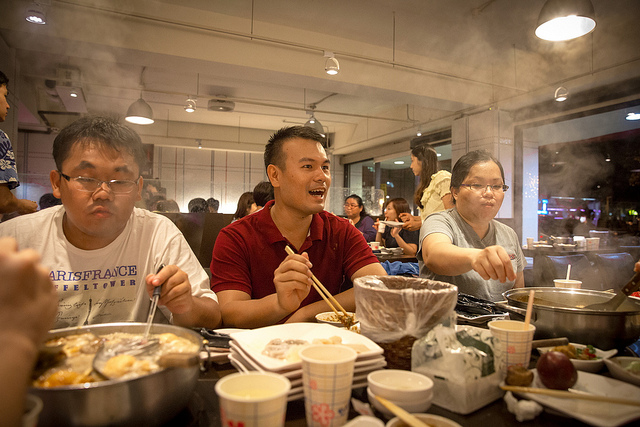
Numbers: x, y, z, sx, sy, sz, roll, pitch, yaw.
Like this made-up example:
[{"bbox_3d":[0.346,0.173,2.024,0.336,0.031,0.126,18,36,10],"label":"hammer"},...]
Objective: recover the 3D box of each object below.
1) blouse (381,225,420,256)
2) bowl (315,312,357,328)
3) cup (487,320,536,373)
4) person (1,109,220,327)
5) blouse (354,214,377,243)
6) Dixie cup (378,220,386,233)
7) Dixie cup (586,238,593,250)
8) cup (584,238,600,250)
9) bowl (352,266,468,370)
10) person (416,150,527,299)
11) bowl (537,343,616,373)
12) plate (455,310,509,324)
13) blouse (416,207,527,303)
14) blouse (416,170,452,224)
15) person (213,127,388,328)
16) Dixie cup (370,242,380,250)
[{"bbox_3d":[1.250,0.389,7.092,0.358,0.340,1.167,-1,0,-12],"label":"blouse"},{"bbox_3d":[0.079,0.607,2.504,0.213,0.058,0.172,-1,0,21],"label":"bowl"},{"bbox_3d":[0.932,0.599,2.127,0.215,0.232,0.220,-10,31,6],"label":"cup"},{"bbox_3d":[-1.223,0.064,2.586,1.173,1.272,0.668,0,1,14],"label":"person"},{"bbox_3d":[0.668,0.224,6.487,0.376,0.235,0.414,-7,43,4],"label":"blouse"},{"bbox_3d":[1.021,0.221,7.203,0.146,0.193,0.058,2,1,-8],"label":"Dixie cup"},{"bbox_3d":[4.086,0.459,6.631,0.078,0.158,0.112,0,1,42],"label":"Dixie cup"},{"bbox_3d":[4.135,0.467,6.646,0.165,0.099,0.167,-1,-1,0],"label":"cup"},{"bbox_3d":[0.448,0.602,2.230,0.511,0.384,0.540,-1,-13,0],"label":"bowl"},{"bbox_3d":[1.028,0.078,3.089,0.730,1.171,1.422,0,0,25],"label":"person"},{"bbox_3d":[1.310,0.715,2.131,0.219,0.074,0.233,-2,-5,0],"label":"bowl"},{"bbox_3d":[0.903,0.584,2.450,0.164,0.048,0.129,-5,-7,44],"label":"plate"},{"bbox_3d":[1.195,0.312,3.335,1.001,0.723,0.467,-1,1,-14],"label":"blouse"},{"bbox_3d":[1.399,-0.225,5.360,0.377,0.587,0.616,0,-22,3],"label":"blouse"},{"bbox_3d":[-0.199,0.058,2.947,0.754,1.286,1.020,0,1,40],"label":"person"},{"bbox_3d":[0.816,0.487,6.449,0.105,0.073,0.102,0,4,0],"label":"Dixie cup"}]
